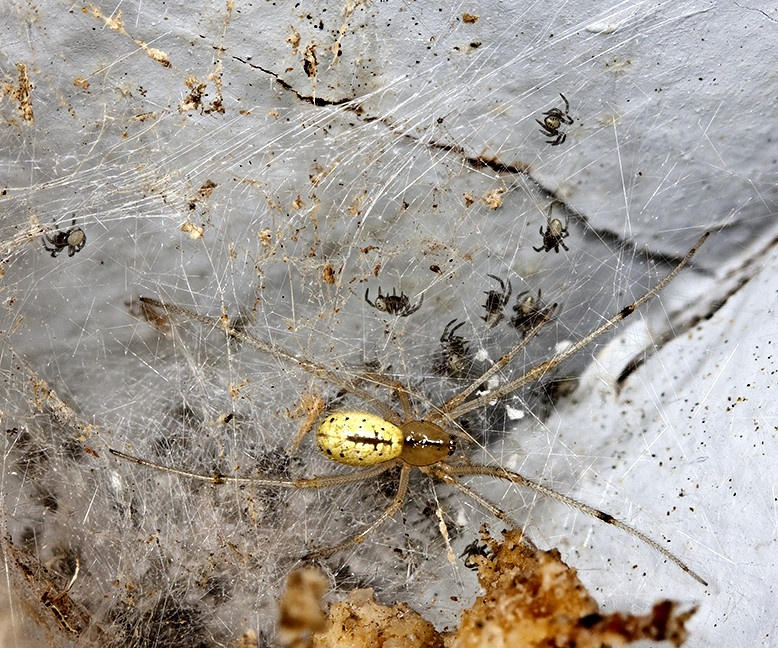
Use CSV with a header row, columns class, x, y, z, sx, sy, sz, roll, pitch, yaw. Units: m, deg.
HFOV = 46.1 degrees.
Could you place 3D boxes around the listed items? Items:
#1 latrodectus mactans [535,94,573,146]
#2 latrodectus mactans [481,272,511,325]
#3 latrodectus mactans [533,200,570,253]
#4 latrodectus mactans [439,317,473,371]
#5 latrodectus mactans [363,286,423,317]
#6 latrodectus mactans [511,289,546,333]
class,x,y,z,sx,sy,sz,roll,pitch,yaw
latrodectus mactans,1.525,-1.883,8.433,0.330,0.088,0.568,2,65,3
latrodectus mactans,0.997,-0.225,8.322,0.258,0.115,0.418,15,93,-1
latrodectus mactans,1.513,-0.878,8.340,0.210,0.146,0.443,0,114,-3
latrodectus mactans,0.607,0.189,8.513,0.246,0.115,0.500,4,91,3
latrodectus mactans,0.079,-0.274,8.432,0.360,0.298,0.170,11,91,36
latrodectus mactans,1.299,-0.197,8.580,0.355,0.492,0.138,-29,93,12
